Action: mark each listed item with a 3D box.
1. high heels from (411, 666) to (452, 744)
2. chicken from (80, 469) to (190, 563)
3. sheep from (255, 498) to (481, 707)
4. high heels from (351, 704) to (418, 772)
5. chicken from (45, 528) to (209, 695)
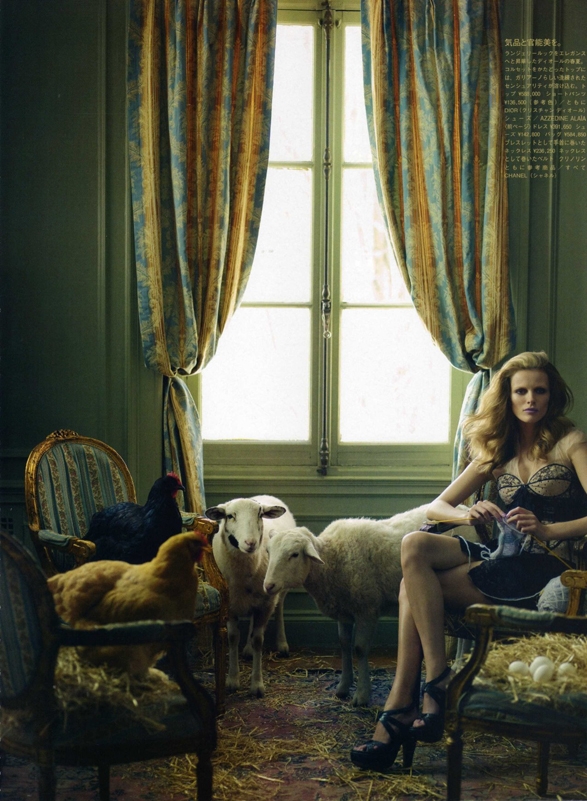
[{"bbox_3d":[0.410,0.913,2.868,0.098,0.292,0.088,10,-7,-28],"label":"high heels"},{"bbox_3d":[-0.499,0.422,3.121,0.293,0.364,0.235,-1,2,3],"label":"chicken"},{"bbox_3d":[0.346,0.646,3.391,0.894,0.747,0.352,-2,-4,-23],"label":"sheep"},{"bbox_3d":[0.224,1.018,2.909,0.256,0.228,0.115,1,-4,-2],"label":"high heels"},{"bbox_3d":[-0.421,0.535,2.597,0.391,0.413,0.295,-1,-13,-7],"label":"chicken"}]
